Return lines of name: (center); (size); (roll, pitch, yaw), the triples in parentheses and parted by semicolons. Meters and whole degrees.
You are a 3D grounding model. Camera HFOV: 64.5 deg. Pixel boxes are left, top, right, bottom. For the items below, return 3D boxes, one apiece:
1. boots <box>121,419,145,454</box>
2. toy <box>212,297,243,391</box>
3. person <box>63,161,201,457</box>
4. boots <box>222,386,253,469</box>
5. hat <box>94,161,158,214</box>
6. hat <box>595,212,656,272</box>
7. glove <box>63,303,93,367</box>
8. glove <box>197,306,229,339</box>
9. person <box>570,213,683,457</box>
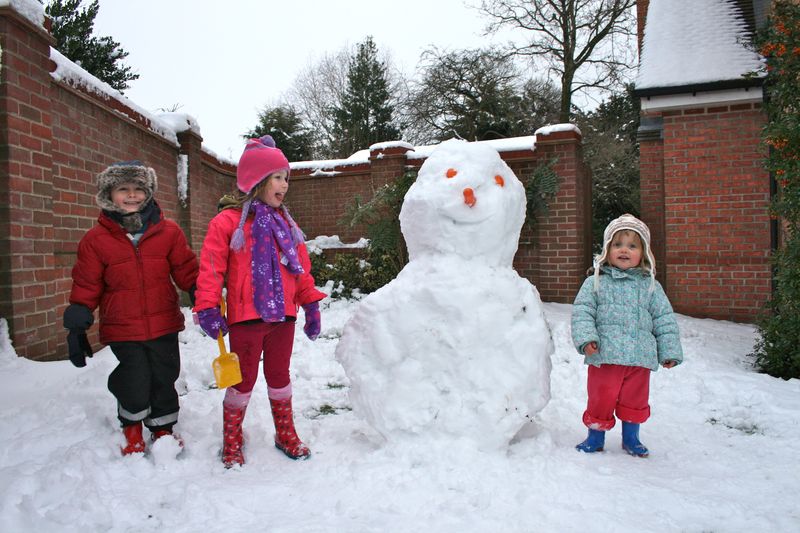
boots: (-2.261, 1.473, 5.333); (0.184, 0.270, 0.193); (-5, 16, -20)
toy: (-1.470, 0.633, 5.396); (0.250, 0.828, 0.117); (-11, -14, 4)
person: (-2.271, 0.323, 5.455); (0.741, 2.314, 0.850); (7, 16, 25)
boots: (-1.414, 1.375, 5.420); (0.228, 0.627, 0.245); (-1, 14, -6)
hat: (-2.401, -0.699, 5.505); (0.471, 0.413, 0.342); (-2, 19, -13)
hat: (2.151, -0.240, 6.039); (0.629, 0.749, 0.557); (-2, -3, 13)
glove: (-2.692, 0.574, 5.273); (0.204, 0.503, 0.219); (-4, -7, 35)
glove: (-1.564, 0.472, 5.260); (0.200, 0.272, 0.113); (-39, -4, -30)
person: (2.057, 0.629, 5.754); (0.972, 2.103, 0.838); (3, 14, 11)
